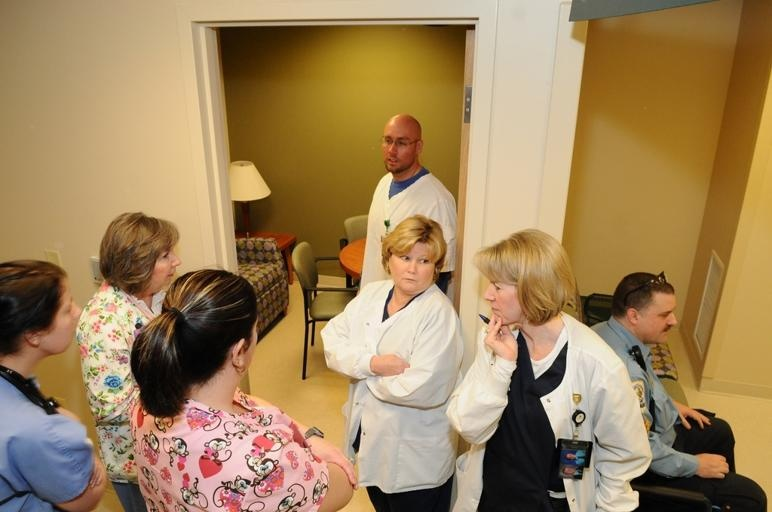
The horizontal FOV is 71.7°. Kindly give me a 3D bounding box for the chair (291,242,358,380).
[{"bbox_3d":[-0.474,0.478,4.759,0.590,1.085,0.629,1,24,2],"label":"chair"}]

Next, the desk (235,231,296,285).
[{"bbox_3d":[-1.298,-0.025,5.967,0.559,0.620,0.595,0,8,9],"label":"desk"}]

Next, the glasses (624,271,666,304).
[{"bbox_3d":[1.360,0.186,2.874,0.184,0.057,0.193,-13,-30,-46],"label":"glasses"}]

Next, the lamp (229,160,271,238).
[{"bbox_3d":[-1.441,-0.602,5.709,0.375,0.794,0.774,-3,11,-14],"label":"lamp"}]
